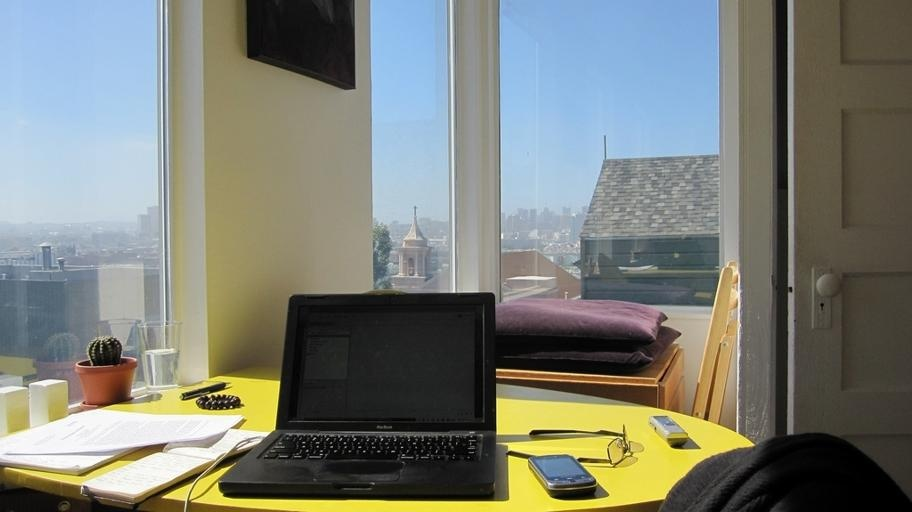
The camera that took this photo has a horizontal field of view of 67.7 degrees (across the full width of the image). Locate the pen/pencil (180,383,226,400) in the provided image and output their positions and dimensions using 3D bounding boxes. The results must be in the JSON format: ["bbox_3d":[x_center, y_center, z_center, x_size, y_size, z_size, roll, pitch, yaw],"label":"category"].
[{"bbox_3d":[-0.965,0.515,2.604,0.024,0.022,0.150,-38,-17,30],"label":"pen/pencil"}]

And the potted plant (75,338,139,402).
[{"bbox_3d":[-1.330,0.429,2.591,0.226,0.228,0.225,-2,1,-26],"label":"potted plant"}]

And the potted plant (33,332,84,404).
[{"bbox_3d":[-1.531,0.411,2.635,0.215,0.229,0.201,5,1,-21],"label":"potted plant"}]

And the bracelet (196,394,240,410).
[{"bbox_3d":[-0.879,0.535,2.512,0.081,0.021,0.079,2,1,4],"label":"bracelet"}]
